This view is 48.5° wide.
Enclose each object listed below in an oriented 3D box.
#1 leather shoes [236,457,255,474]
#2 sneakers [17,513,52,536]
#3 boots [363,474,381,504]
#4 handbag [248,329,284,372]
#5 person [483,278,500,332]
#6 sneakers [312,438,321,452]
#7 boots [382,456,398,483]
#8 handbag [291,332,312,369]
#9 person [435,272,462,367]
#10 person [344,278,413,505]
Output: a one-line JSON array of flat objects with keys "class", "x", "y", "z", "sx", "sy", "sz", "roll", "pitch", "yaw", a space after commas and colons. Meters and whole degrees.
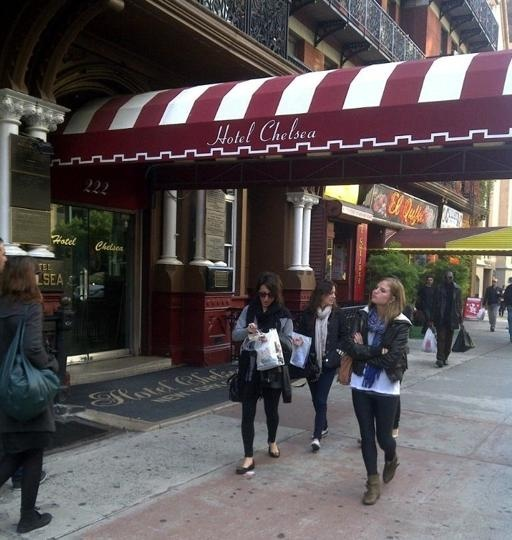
[{"class": "leather shoes", "x": -0.079, "y": 1.758, "z": 5.076, "sx": 0.072, "sy": 0.171, "sz": 0.229, "roll": -9, "pitch": -17, "yaw": 28}, {"class": "sneakers", "x": -1.504, "y": 1.710, "z": 3.889, "sx": 0.077, "sy": 0.096, "sz": 0.217, "roll": 6, "pitch": 8, "yaw": 37}, {"class": "boots", "x": 0.939, "y": 1.735, "z": 4.517, "sx": 0.091, "sy": 0.192, "sz": 0.264, "roll": -6, "pitch": -8, "yaw": 21}, {"class": "handbag", "x": 0.089, "y": 0.719, "z": 5.029, "sx": 0.163, "sy": 0.292, "sz": 0.199, "roll": 23, "pitch": -46, "yaw": -37}, {"class": "person", "x": 8.710, "y": 1.262, "z": 20.858, "sx": 0.541, "sy": 1.847, "sz": 0.645, "roll": 2, "pitch": 0, "yaw": -39}, {"class": "sneakers", "x": 0.618, "y": 1.792, "z": 5.795, "sx": 0.055, "sy": 0.074, "sz": 0.151, "roll": -1, "pitch": -36, "yaw": 6}, {"class": "boots", "x": 1.130, "y": 1.687, "z": 4.847, "sx": 0.108, "sy": 0.286, "sz": 0.087, "roll": 6, "pitch": 6, "yaw": -43}, {"class": "handbag", "x": 0.459, "y": 0.808, "z": 5.714, "sx": 0.283, "sy": 0.327, "sz": 0.091, "roll": 5, "pitch": -8, "yaw": 35}, {"class": "person", "x": 3.848, "y": 0.998, "z": 11.434, "sx": 0.541, "sy": 1.326, "sz": 0.556, "roll": 2, "pitch": -1, "yaw": 19}, {"class": "person", "x": 1.005, "y": 0.946, "z": 4.680, "sx": 0.475, "sy": 1.355, "sz": 0.483, "roll": 2, "pitch": -1, "yaw": -7}]
